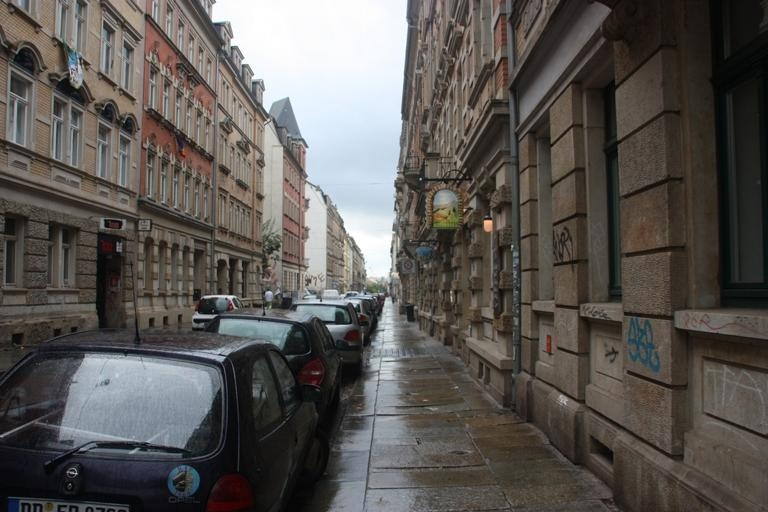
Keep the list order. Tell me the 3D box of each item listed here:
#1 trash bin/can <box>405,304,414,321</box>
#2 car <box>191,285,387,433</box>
[{"bbox_3d":[1.745,3.766,37.212,0.384,1.125,0.639,1,0,-4],"label":"trash bin/can"},{"bbox_3d":[-1.447,1.644,10.567,1.897,1.439,3.808,0,3,4],"label":"car"}]
